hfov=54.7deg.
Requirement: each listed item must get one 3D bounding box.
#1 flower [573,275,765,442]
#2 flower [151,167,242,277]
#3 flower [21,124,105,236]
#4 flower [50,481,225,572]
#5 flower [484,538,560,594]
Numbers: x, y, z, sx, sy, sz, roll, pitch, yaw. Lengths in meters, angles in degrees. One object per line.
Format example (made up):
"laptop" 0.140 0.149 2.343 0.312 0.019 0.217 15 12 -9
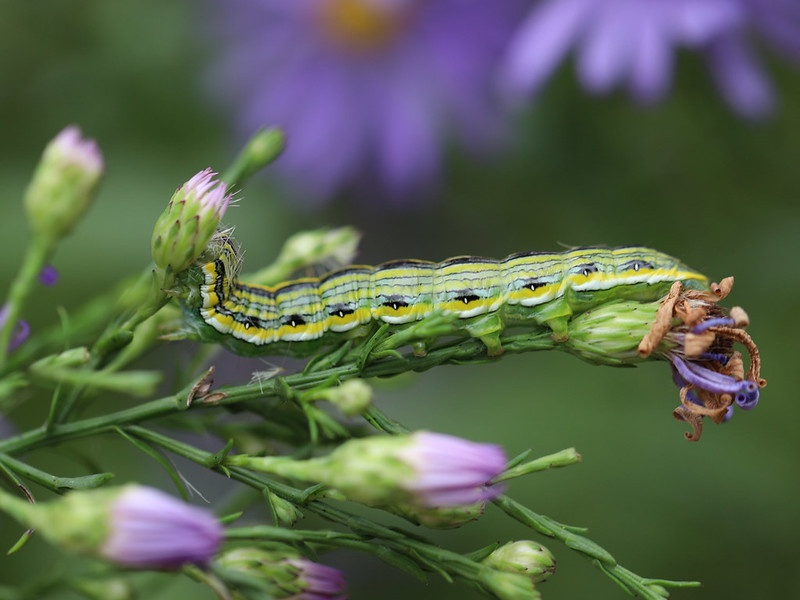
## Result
"flower" 0.540 0.093 1.392 0.201 0.259 0.170 -7 -34 27
"flower" -0.376 -0.139 1.427 0.110 0.208 0.080 36 -5 -3
"flower" -0.616 -0.212 1.421 0.105 0.203 0.095 28 -34 -29
"flower" -0.402 0.353 1.198 0.222 0.108 0.133 15 -58 -5
"flower" 0.218 0.463 1.397 0.124 0.072 0.068 14 9 2
